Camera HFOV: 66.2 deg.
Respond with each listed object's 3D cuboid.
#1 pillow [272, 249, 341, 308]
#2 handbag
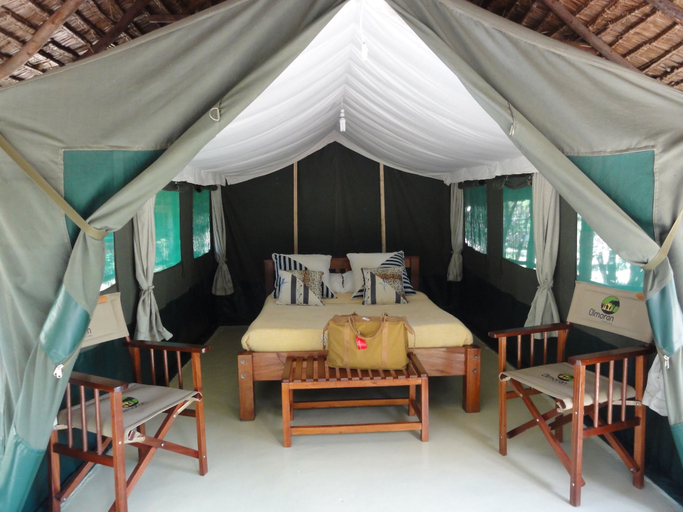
[{"bbox_3d":[-0.417,0.224,5.493,0.462,0.197,0.599,3,46,-11],"label":"pillow"},{"bbox_3d":[0.208,0.562,4.103,0.748,0.545,0.353,0,-12,4],"label":"handbag"}]
